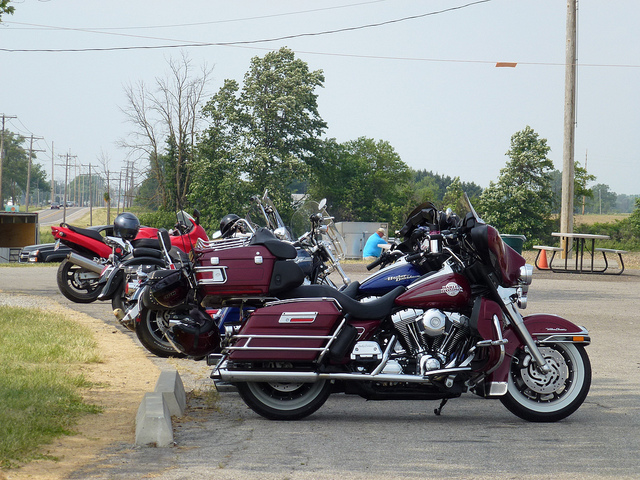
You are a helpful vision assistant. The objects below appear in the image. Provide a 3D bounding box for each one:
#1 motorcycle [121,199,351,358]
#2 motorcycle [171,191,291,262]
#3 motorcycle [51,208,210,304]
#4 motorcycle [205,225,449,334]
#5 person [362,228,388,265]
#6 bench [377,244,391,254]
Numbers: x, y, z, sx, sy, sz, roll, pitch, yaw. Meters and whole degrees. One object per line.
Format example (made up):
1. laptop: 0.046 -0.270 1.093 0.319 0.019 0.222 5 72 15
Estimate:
1. motorcycle: -0.735 0.392 10.206 3.533 1.951 1.856 -4 14 -28
2. motorcycle: -1.228 -0.035 9.093 1.198 0.682 0.703 -9 -36 -25
3. motorcycle: -3.448 0.267 15.739 3.338 1.743 1.377 -3 2 -26
4. motorcycle: 0.059 0.361 8.886 2.239 1.226 1.266 -14 4 -1
5. person: 1.382 0.290 19.421 0.734 1.189 0.561 3 17 2
6. bench: 1.438 0.145 18.362 0.252 0.350 0.137 1 4 5
